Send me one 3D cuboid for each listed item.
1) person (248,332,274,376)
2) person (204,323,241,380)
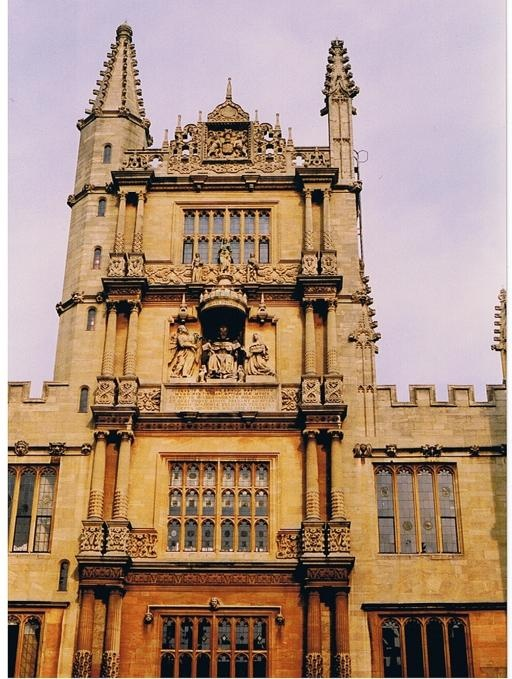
[{"bbox_3d":[0.150,0.499,28.482,1.111,1.843,0.569,-1,-44,-2],"label":"person"},{"bbox_3d":[-1.041,0.379,28.678,1.065,1.761,0.488,3,-30,-4],"label":"person"}]
